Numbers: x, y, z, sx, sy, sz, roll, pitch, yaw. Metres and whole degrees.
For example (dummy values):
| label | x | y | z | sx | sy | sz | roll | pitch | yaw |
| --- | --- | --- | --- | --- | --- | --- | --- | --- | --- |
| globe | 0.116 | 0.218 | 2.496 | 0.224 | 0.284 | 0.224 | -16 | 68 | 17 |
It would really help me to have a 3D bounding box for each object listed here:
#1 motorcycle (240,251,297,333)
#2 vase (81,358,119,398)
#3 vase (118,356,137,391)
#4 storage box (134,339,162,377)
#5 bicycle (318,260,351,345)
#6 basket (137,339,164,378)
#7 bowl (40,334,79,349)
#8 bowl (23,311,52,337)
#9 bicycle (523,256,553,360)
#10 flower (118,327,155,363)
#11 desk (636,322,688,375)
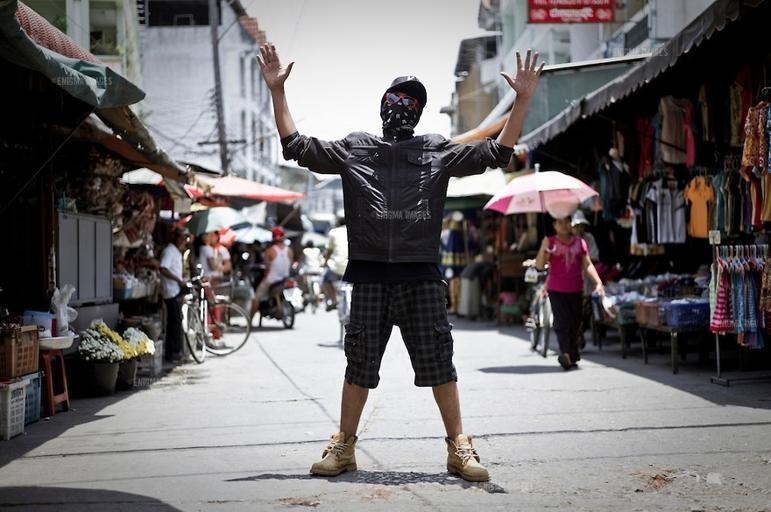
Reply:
| label | x | y | z | sx | sy | sz | roll | pitch | yaw |
| --- | --- | --- | --- | --- | --- | --- | --- | --- | --- |
| motorcycle | -2.508 | 0.873 | 21.047 | 0.789 | 1.194 | 1.767 | -5 | 9 | -24 |
| vase | -3.571 | 1.486 | 11.952 | 0.440 | 0.354 | 0.462 | 0 | 1 | 5 |
| vase | -3.389 | 1.524 | 12.347 | 0.330 | 0.288 | 0.354 | 2 | 12 | -8 |
| storage box | -3.297 | 1.499 | 13.236 | 0.334 | 0.426 | 0.649 | 1 | -1 | 4 |
| bicycle | -1.073 | 0.970 | 18.986 | 0.730 | 1.742 | 1.183 | -1 | -1 | -10 |
| basket | -3.281 | 1.489 | 13.242 | 0.330 | 0.420 | 0.638 | -1 | 0 | 3 |
| bowl | -3.806 | 0.988 | 10.881 | 0.419 | 0.179 | 0.295 | 2 | -6 | -29 |
| bowl | -3.981 | 0.769 | 10.838 | 0.236 | 0.327 | 0.329 | 5 | 7 | 35 |
| bicycle | 2.558 | 0.789 | 15.083 | 0.510 | 1.675 | 1.031 | 1 | -1 | 7 |
| flower | -3.278 | 1.137 | 12.390 | 0.109 | 0.413 | 0.400 | -27 | -28 | 21 |
| desk | 3.871 | 1.284 | 13.016 | 0.401 | 0.611 | 0.760 | 1 | 0 | -1 |
